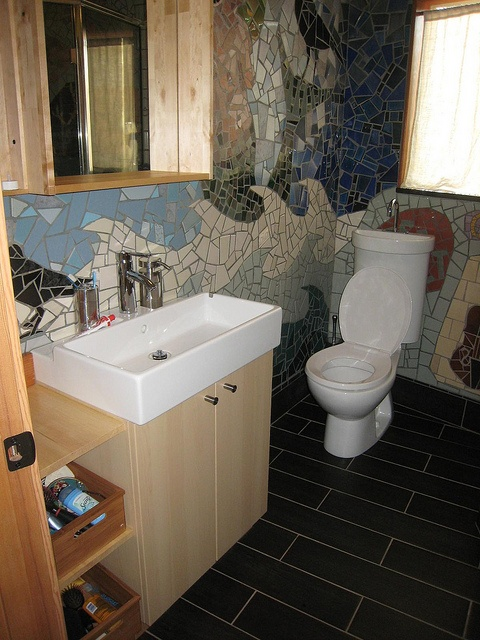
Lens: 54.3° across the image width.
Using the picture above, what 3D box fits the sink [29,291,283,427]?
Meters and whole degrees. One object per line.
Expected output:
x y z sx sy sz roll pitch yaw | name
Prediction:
-0.212 0.071 1.449 0.436 0.163 0.733 11 18 31 | sink

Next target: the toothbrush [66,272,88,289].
-0.472 -0.117 1.376 0.037 0.022 0.053 -22 34 -39 | toothbrush

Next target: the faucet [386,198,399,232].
0.865 -0.594 2.634 0.067 0.183 0.135 5 15 19 | faucet

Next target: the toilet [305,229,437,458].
0.645 0.113 2.340 0.464 1.027 0.862 8 16 27 | toilet
